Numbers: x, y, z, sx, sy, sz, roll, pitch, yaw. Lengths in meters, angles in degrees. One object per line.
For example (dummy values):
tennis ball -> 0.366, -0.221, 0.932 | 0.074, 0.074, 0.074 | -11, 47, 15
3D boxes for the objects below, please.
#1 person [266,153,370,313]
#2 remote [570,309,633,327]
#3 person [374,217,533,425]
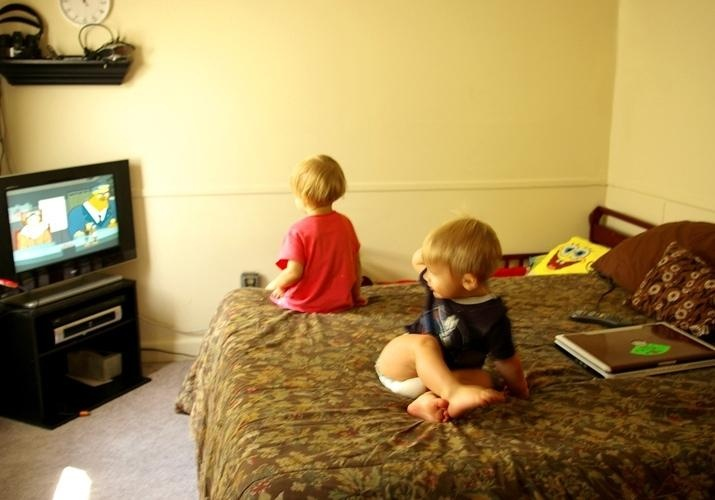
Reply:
person -> -0.296, -0.084, 2.545 | 0.647, 0.727, 0.573 | 5, 11, 28
remote -> 1.118, 0.316, 2.210 | 0.209, 0.029, 0.099 | 2, 6, 2
person -> 0.300, 0.243, 1.706 | 0.544, 0.646, 0.709 | -8, 15, -5
